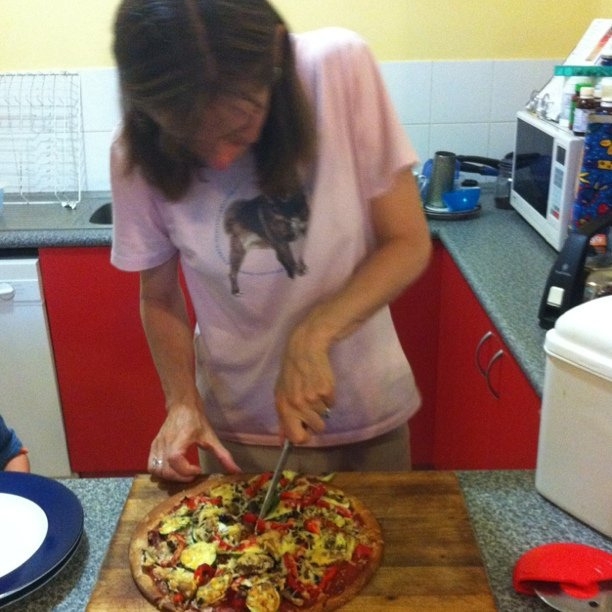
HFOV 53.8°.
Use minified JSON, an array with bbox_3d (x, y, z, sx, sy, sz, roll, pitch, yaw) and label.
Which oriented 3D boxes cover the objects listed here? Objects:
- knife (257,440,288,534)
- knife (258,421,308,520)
[{"bbox_3d":[-0.052,0.288,0.957,0.011,0.140,0.017,30,-12,-12],"label":"knife"},{"bbox_3d":[-0.044,0.239,0.916,0.027,0.168,0.013,33,-14,-32],"label":"knife"}]
